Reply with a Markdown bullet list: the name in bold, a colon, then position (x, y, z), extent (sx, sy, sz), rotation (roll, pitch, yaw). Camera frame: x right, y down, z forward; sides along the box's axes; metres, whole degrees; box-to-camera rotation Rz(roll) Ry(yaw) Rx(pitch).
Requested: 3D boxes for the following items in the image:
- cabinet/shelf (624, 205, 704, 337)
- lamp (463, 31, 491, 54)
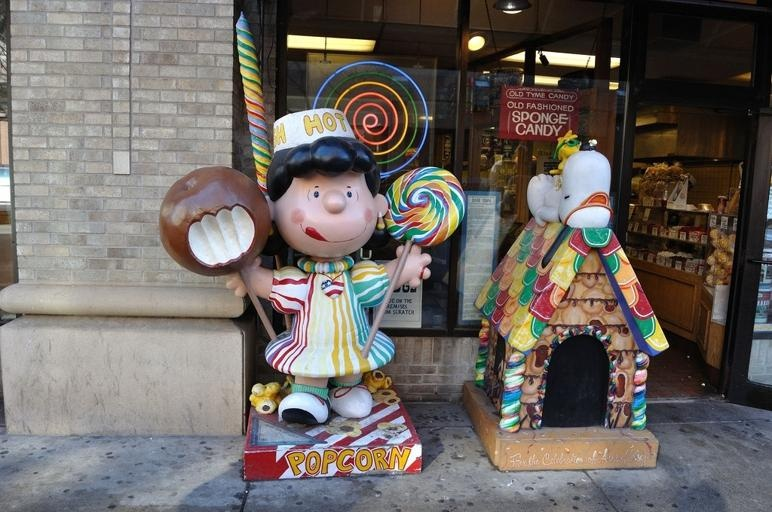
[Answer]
- **cabinet/shelf**: position (3.954, 0.179, 9.769), extent (0.674, 1.635, 2.102), rotation (0, 9, -3)
- **lamp**: position (0.927, -2.214, 7.216), extent (0.236, 0.205, 0.077), rotation (-11, 15, -9)
